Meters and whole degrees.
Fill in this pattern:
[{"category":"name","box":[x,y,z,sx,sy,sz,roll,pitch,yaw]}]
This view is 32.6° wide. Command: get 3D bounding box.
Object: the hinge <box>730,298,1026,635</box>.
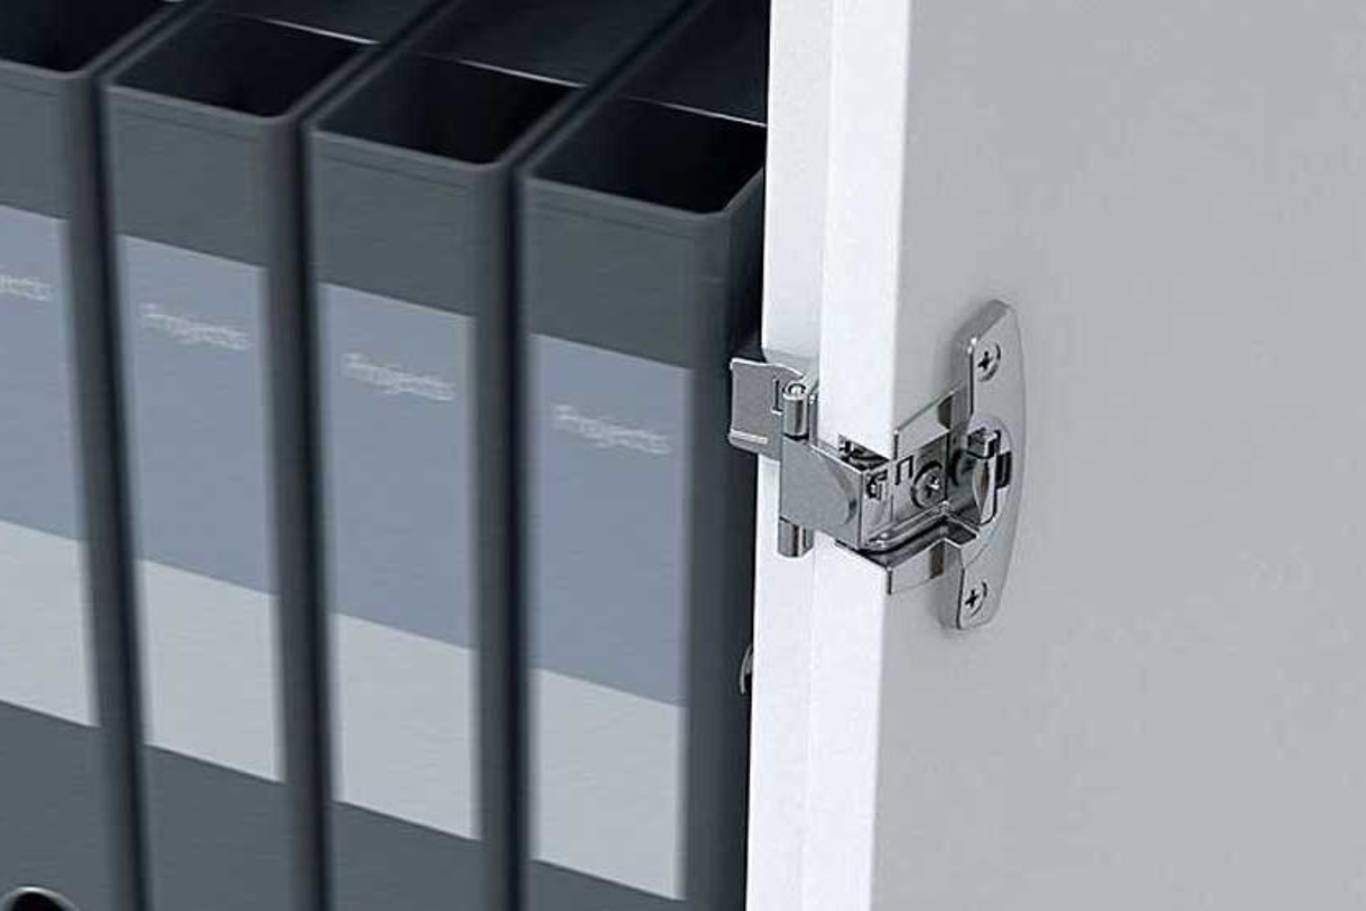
[{"category":"hinge","box":[0.119,0.013,1.224,0.175,0.117,0.165,22,30,34]}]
